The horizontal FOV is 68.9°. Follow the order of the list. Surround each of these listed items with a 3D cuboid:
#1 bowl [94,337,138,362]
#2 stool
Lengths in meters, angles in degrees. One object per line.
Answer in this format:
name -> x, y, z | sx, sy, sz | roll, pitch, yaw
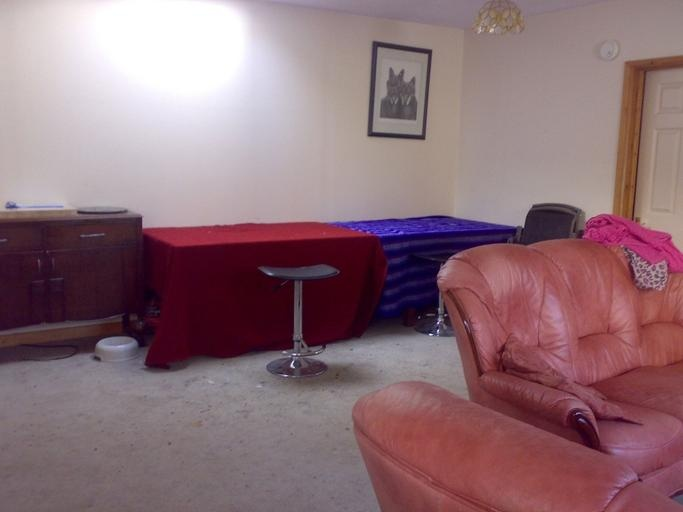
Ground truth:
bowl -> -1.666, 0.692, 3.724 | 0.198, 0.077, 0.197 | 4, 12, -1
stool -> -0.327, 0.442, 3.721 | 0.545, 0.762, 0.628 | 0, 13, -10
